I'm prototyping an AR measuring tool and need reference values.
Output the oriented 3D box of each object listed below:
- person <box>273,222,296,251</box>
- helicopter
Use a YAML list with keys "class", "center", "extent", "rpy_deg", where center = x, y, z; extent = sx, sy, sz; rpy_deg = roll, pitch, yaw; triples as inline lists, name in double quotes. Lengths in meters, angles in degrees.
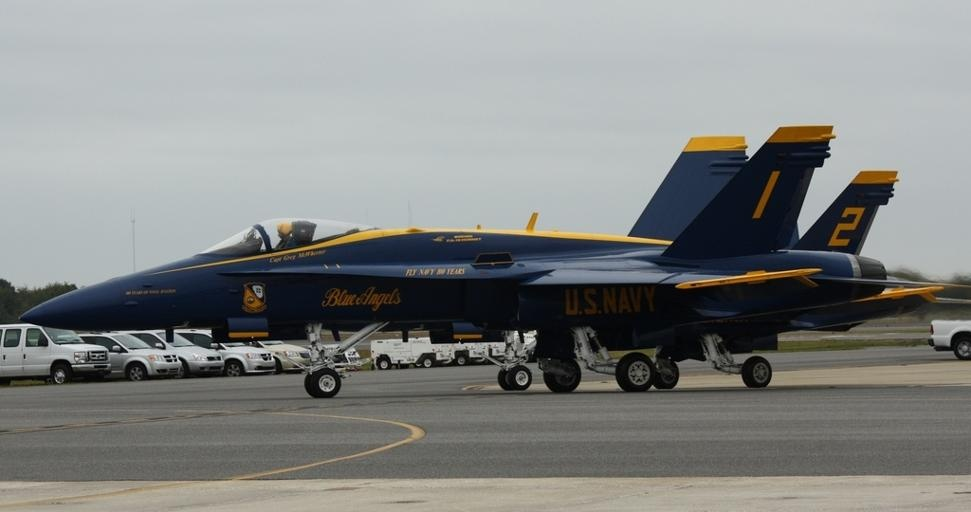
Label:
- class: "person"
  center: [-6.576, -0.633, 42.046]
  extent: [0.549, 0.852, 0.457]
  rpy_deg: [-2, 15, 1]
- class: "helicopter"
  center: [0.402, 1.000, 44.569]
  extent: [23.837, 4.373, 13.413]
  rpy_deg: [0, -2, -5]
